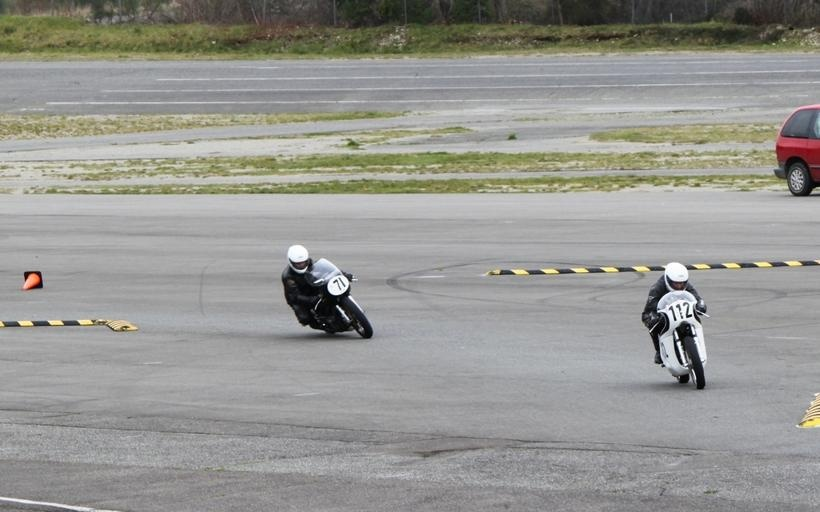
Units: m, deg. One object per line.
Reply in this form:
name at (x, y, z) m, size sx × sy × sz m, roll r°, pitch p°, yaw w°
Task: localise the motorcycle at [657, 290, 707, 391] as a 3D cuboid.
motorcycle at (7.537, 2.303, 42.357) m, size 1.159 × 2.642 × 0.868 m, roll -2°, pitch 16°, yaw 23°
